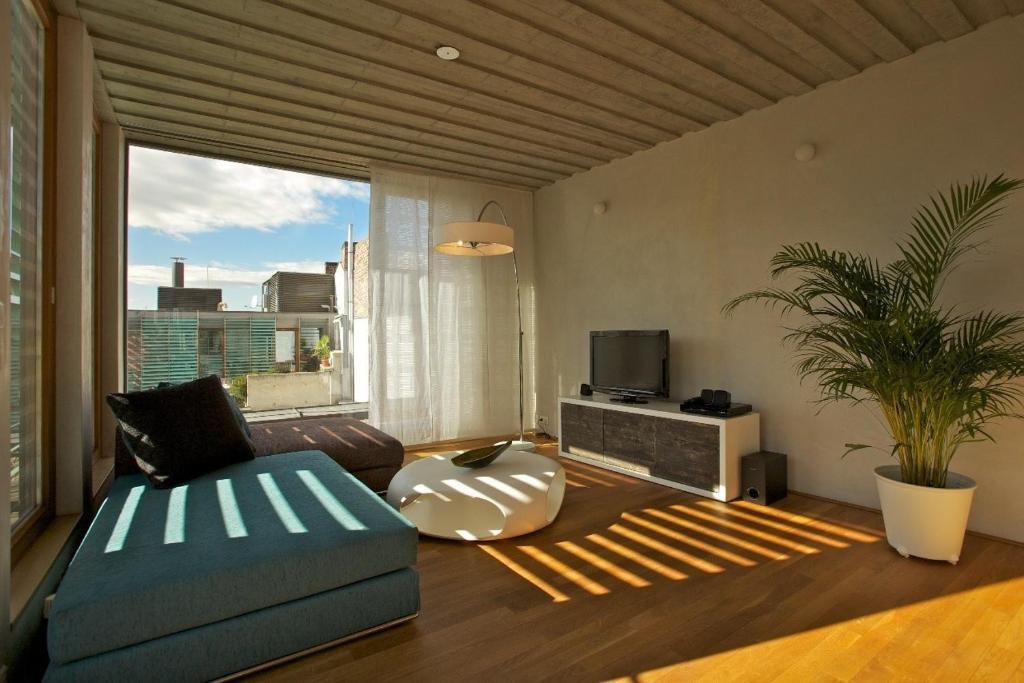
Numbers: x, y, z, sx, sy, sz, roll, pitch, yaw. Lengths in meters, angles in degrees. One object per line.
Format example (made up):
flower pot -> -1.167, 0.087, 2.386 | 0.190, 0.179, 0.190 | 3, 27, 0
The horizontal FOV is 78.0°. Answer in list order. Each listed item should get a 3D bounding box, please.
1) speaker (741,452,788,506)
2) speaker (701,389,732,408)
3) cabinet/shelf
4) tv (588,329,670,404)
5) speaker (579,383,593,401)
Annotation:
speaker -> 2.036, 1.099, 5.274 | 0.392, 0.468, 0.334 | -6, 10, -31
speaker -> 1.751, 0.488, 5.366 | 0.138, 0.157, 0.235 | -1, 1, -34
cabinet/shelf -> 1.282, 0.909, 6.000 | 0.542, 0.669, 1.943 | -6, 6, -37
tv -> 1.123, 0.207, 6.219 | 0.208, 0.624, 1.003 | -1, 2, -30
speaker -> 0.769, 0.529, 6.555 | 0.118, 0.212, 0.170 | 6, -6, -42
